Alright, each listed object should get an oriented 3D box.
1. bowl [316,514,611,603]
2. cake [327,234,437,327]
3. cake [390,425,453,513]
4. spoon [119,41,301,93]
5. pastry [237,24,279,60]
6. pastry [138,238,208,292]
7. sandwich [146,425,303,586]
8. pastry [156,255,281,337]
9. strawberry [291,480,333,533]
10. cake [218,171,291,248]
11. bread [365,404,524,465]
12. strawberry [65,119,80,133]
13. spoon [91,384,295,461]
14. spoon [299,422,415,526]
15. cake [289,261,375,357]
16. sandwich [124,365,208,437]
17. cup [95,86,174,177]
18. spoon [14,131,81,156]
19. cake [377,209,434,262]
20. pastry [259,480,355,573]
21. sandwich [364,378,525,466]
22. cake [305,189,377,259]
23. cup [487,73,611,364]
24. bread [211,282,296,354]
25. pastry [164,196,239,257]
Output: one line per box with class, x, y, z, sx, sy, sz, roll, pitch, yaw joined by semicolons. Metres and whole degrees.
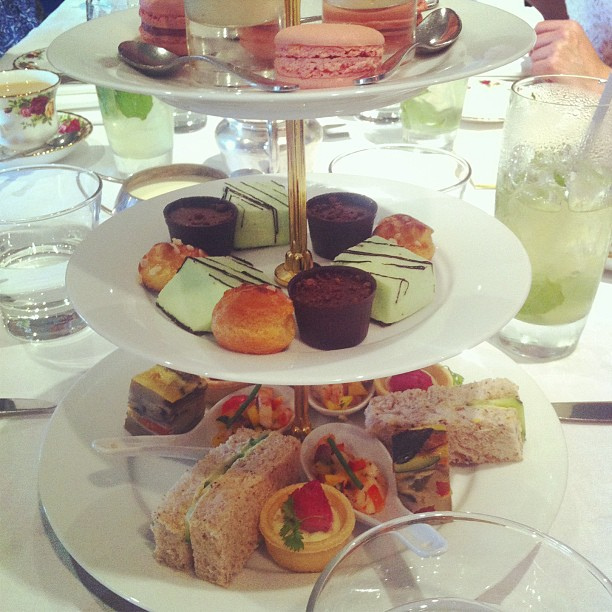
bowl;0.114;0.205;0.486;0.209;0.063;0.067;0;38;2
cake;0.088;-0.027;0.615;0.096;0.051;0.117;-27;41;-25
cake;0.120;0.169;0.647;0.055;0.061;0.072;-2;37;1
spoon;-0.082;-0.187;0.489;0.208;0.024;0.048;27;44;36
pastry;-0.033;-0.214;0.507;0.040;0.028;0.011;-3;32;-11
pastry;-0.134;-0.039;0.667;0.077;0.050;0.069;-16;31;-31
sandwich;-0.082;0.191;0.645;0.112;0.058;0.167;11;25;20
pastry;-0.089;-0.025;0.590;0.102;0.026;0.090;7;31;-16
strawberry;0.007;0.191;0.592;0.042;0.015;0.040;-18;77;12
cake;-0.071;-0.114;0.754;0.115;0.035;0.117;39;2;0
bread;0.144;0.125;0.758;0.189;0.061;0.178;4;13;1
strawberry;-0.507;-0.391;1.361;0.035;0.011;0.029;-6;59;-4
spoon;-0.126;0.112;0.707;0.203;0.022;0.107;-9;23;-24
spoon;0.058;0.174;0.669;0.071;0.025;0.131;-17;36;-24
cake;0.020;-0.002;0.554;0.092;0.048;0.084;-3;21;-4
sandwich;-0.163;0.112;0.773;0.124;0.081;0.103;3;19;-8
cup;-0.322;-0.339;1.218;0.132;0.189;0.090;-11;42;-10
spoon;-0.530;-0.352;1.335;0.184;0.024;0.036;-33;86;-44
cake;0.107;-0.075;0.677;0.041;0.021;0.073;-41;50;-15
pastry;0.000;0.209;0.598;0.092;0.063;0.083;0;37;3
sandwich;0.172;0.129;0.710;0.164;0.046;0.082;-6;25;19
cake;0.039;-0.095;0.688;0.091;0.048;0.083;-1;25;-2
cup;0.315;-0.104;0.791;0.142;0.378;0.172;4;41;8
bread;-0.047;0.010;0.562;0.073;0.037;0.063;10;24;11
pastry;-0.114;-0.095;0.725;0.107;0.051;0.095;2;4;13
